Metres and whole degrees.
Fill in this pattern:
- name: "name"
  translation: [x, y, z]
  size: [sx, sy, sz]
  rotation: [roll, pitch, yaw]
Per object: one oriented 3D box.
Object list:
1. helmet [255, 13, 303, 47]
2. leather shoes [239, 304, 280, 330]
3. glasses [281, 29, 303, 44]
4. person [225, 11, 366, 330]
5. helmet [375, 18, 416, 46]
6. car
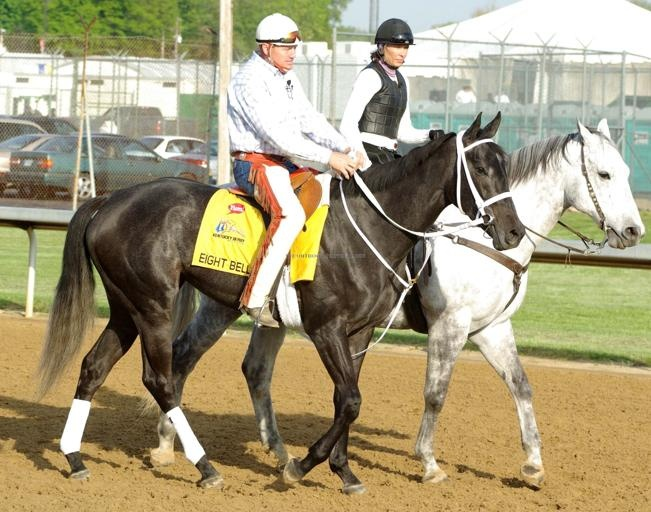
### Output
- name: "helmet"
  translation: [-0.355, -1.673, 7.115]
  size: [0.371, 0.262, 0.371]
  rotation: [1, 5, 14]
- name: "leather shoes"
  translation: [-0.489, 0.446, 7.139]
  size: [0.251, 0.266, 0.153]
  rotation: [-5, 9, -14]
- name: "glasses"
  translation: [-0.224, -1.603, 7.005]
  size: [0.098, 0.105, 0.224]
  rotation: [6, 12, 27]
- name: "person"
  translation: [-0.278, -0.579, 7.054]
  size: [0.888, 2.385, 0.681]
  rotation: [0, 10, -7]
- name: "helmet"
  translation: [0.564, -1.772, 7.558]
  size: [0.308, 0.206, 0.348]
  rotation: [1, 10, 0]
- name: "car"
  translation: [-3.937, -1.764, 17.218]
  size: [3.797, 1.256, 1.728]
  rotation: [-4, 8, -20]
